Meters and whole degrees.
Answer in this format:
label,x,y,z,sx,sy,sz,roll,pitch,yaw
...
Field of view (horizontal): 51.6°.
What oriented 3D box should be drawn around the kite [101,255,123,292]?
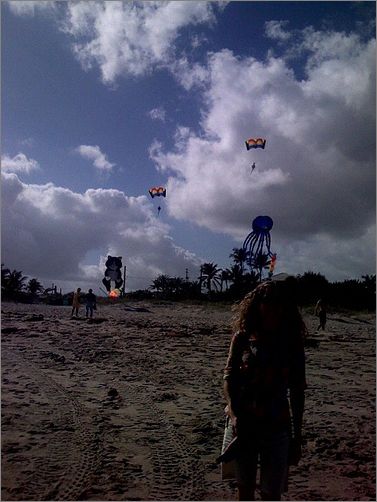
label,x,y,z,sx,sy,sz,roll,pitch,yaw
kite,-9.404,2.921,48.365,2.211,4.398,3.069,7,-7,-12
